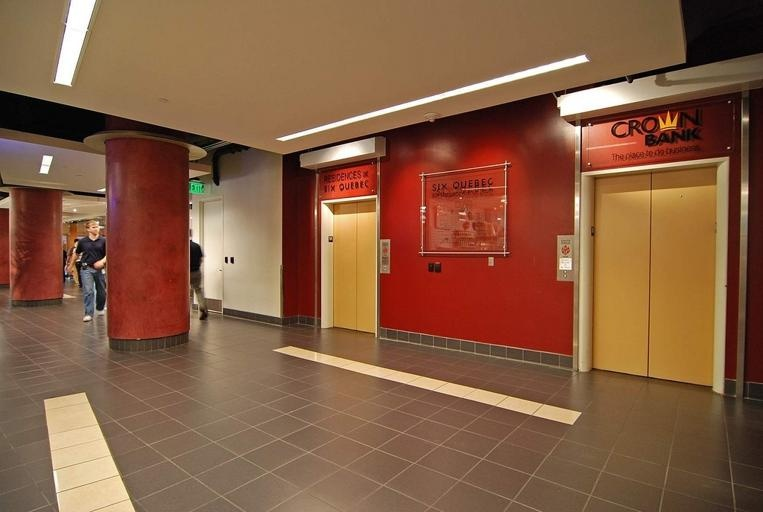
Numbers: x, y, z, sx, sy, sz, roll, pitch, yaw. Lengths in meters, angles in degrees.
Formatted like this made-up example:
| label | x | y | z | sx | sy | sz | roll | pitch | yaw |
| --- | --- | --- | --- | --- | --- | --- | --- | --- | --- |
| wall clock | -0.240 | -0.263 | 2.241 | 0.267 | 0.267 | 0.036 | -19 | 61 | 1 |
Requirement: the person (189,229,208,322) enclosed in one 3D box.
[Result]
| label | x | y | z | sx | sy | sz | roll | pitch | yaw |
| --- | --- | --- | --- | --- | --- | --- | --- | --- | --- |
| person | -4.264 | 0.484 | 11.180 | 0.352 | 1.674 | 1.431 | -2 | 6 | -21 |

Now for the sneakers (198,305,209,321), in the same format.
| label | x | y | z | sx | sy | sz | roll | pitch | yaw |
| --- | --- | --- | --- | --- | --- | --- | --- | --- | --- |
| sneakers | -3.986 | 1.248 | 10.744 | 0.247 | 0.412 | 0.294 | -3 | -3 | -7 |

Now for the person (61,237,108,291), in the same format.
| label | x | y | z | sx | sy | sz | roll | pitch | yaw |
| --- | --- | --- | --- | --- | --- | --- | --- | --- | --- |
| person | -6.352 | 0.059 | 10.461 | 1.351 | 1.066 | 0.513 | 5 | 7 | 41 |
